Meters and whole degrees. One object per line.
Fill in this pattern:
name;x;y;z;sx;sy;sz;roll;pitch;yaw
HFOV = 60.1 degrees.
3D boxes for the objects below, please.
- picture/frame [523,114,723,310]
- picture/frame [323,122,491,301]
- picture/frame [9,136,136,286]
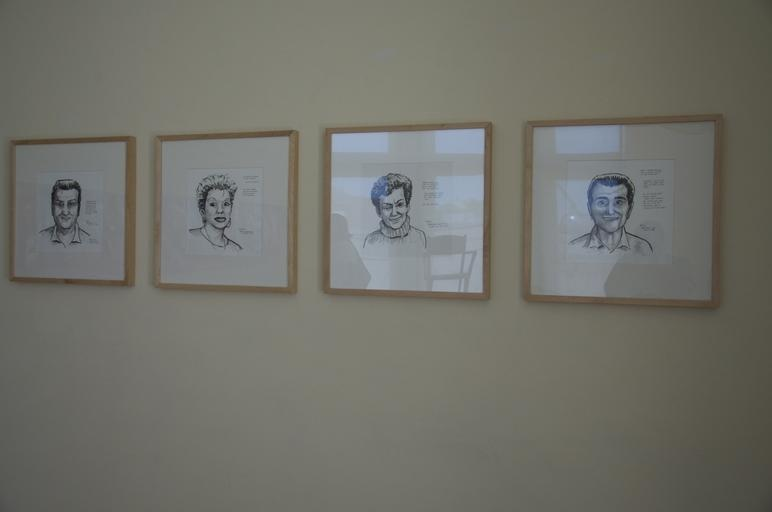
picture/frame;0.915;-0.177;2.487;0.679;0.691;0.027;0;2;8
picture/frame;0.109;-0.186;2.574;0.642;0.677;0.029;1;-1;1
picture/frame;-1.273;-0.198;2.760;0.575;0.633;0.045;0;4;11
